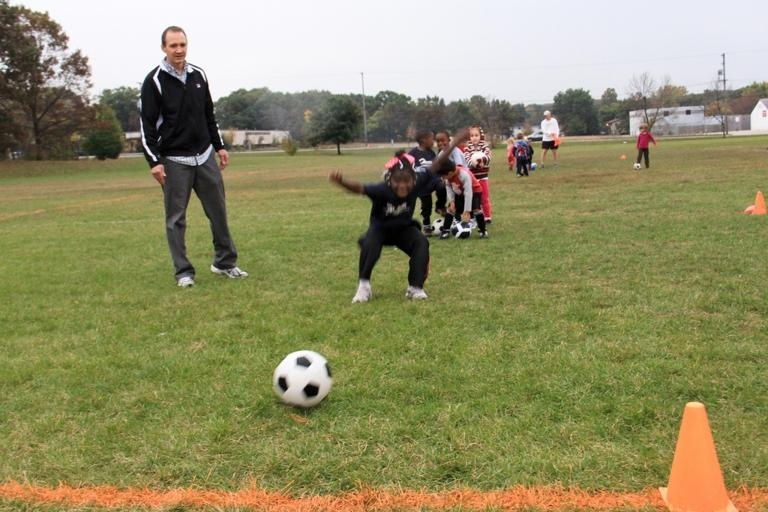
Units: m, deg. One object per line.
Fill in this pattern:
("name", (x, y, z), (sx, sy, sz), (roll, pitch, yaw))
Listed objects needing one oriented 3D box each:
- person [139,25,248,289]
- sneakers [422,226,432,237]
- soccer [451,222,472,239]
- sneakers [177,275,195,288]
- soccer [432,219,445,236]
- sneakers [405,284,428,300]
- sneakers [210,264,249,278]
("person", (-2.232, -1.115, 7.572), (0.958, 2.855, 0.506), (-12, 17, -32))
("sneakers", (0.674, -0.379, 10.256), (0.115, 0.143, 0.339), (0, -4, -1))
("soccer", (1.223, -0.385, 10.083), (0.293, 0.258, 0.240), (1, -34, -40))
("sneakers", (-2.258, 0.308, 7.568), (0.225, 0.089, 0.102), (2, -1, 26))
("soccer", (0.891, -0.443, 10.323), (0.208, 0.234, 0.209), (4, 3, 10))
("sneakers", (0.338, 0.395, 6.966), (0.195, 0.119, 0.121), (-5, -15, 27))
("sneakers", (-1.867, 0.186, 8.022), (0.433, 0.175, 0.171), (1, 6, 18))
